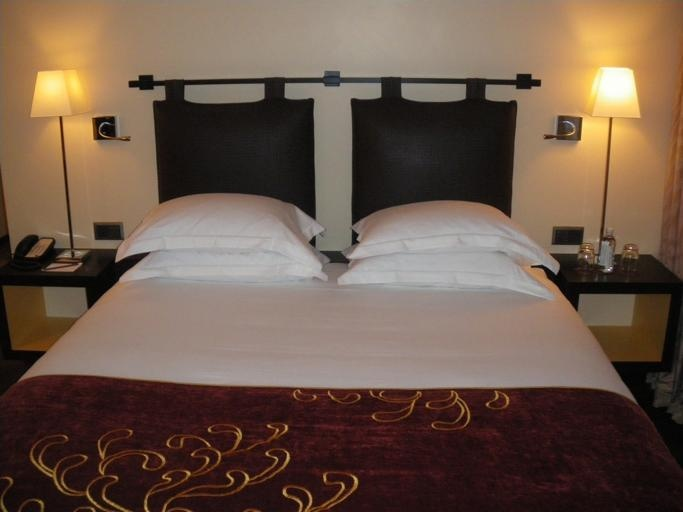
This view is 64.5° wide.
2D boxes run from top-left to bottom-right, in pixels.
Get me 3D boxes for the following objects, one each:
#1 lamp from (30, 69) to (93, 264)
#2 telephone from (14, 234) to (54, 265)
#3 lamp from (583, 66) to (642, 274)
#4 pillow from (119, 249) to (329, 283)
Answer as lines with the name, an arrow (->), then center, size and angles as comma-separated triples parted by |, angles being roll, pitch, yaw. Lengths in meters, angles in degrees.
lamp -> -1.544, -0.520, 3.048 | 0.277, 1.022, 0.426 | -8, 17, -26
telephone -> -1.713, -0.041, 3.016 | 0.145, 0.080, 0.202 | 1, 25, -3
lamp -> 1.451, -0.486, 2.946 | 0.254, 1.047, 0.480 | 8, 17, 27
pillow -> -0.568, 0.047, 2.545 | 0.519, 0.090, 0.366 | 0, 9, -3
